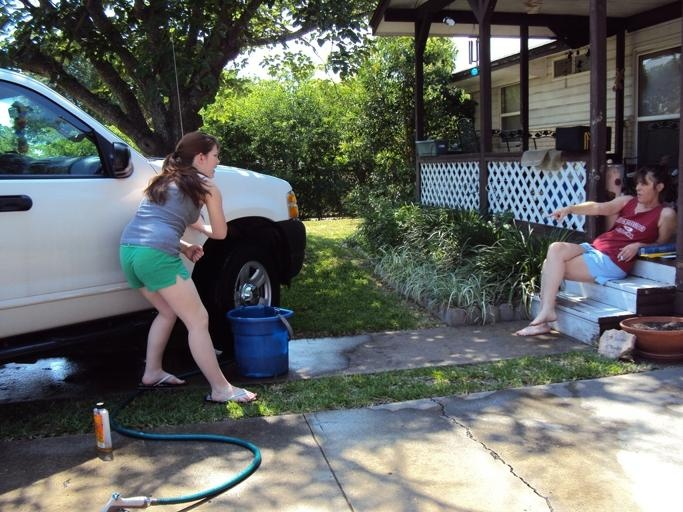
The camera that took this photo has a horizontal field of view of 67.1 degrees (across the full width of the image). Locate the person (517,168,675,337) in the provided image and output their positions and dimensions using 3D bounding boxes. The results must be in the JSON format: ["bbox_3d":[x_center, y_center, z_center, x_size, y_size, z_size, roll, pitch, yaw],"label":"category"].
[{"bbox_3d":[2.536,-0.061,5.072,1.292,1.613,0.435,-1,11,5],"label":"person"}]

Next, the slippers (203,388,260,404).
[{"bbox_3d":[-0.798,1.011,3.737,0.312,0.075,0.142,-2,7,-7],"label":"slippers"}]

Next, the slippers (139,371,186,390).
[{"bbox_3d":[-1.389,0.962,4.043,0.391,0.152,0.127,-2,5,-11],"label":"slippers"}]

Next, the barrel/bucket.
[{"bbox_3d":[-0.641,0.733,4.291,0.559,0.481,0.569,-2,-3,0],"label":"barrel/bucket"}]
